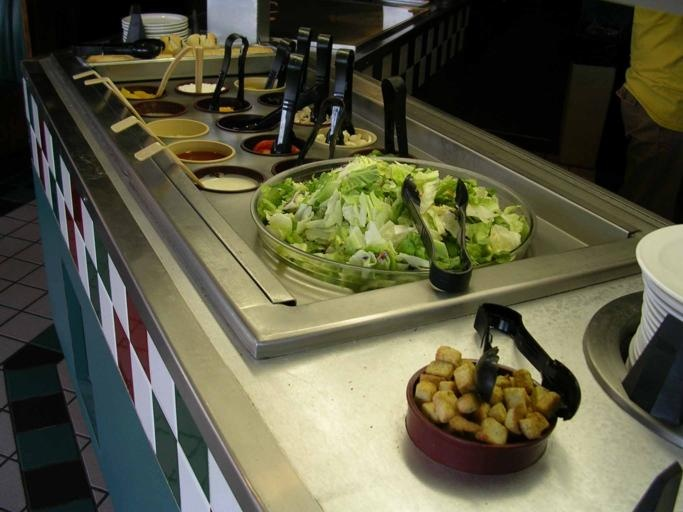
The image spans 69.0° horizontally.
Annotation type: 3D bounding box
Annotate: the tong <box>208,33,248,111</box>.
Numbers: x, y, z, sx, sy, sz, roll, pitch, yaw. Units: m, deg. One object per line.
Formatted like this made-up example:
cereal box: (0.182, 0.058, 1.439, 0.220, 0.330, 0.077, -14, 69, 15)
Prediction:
tong: (-0.425, -0.723, 1.872, 0.148, 0.223, 0.454, -5, 33, -9)

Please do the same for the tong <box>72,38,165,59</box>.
tong: (-0.933, -0.855, 2.055, 0.351, 0.056, 0.275, -1, 33, -3)

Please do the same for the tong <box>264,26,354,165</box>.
tong: (-0.089, -0.480, 1.503, 0.279, 0.300, 0.621, -4, 33, -7)

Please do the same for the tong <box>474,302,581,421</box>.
tong: (0.257, 0.153, 0.727, 0.096, 0.049, 0.175, -3, 34, -18)

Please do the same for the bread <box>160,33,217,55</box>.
bread: (-0.695, -0.959, 2.244, 0.267, 0.101, 0.197, 15, 31, 31)

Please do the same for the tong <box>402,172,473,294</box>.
tong: (0.189, -0.048, 0.951, 0.115, 0.056, 0.240, 2, 45, -2)
